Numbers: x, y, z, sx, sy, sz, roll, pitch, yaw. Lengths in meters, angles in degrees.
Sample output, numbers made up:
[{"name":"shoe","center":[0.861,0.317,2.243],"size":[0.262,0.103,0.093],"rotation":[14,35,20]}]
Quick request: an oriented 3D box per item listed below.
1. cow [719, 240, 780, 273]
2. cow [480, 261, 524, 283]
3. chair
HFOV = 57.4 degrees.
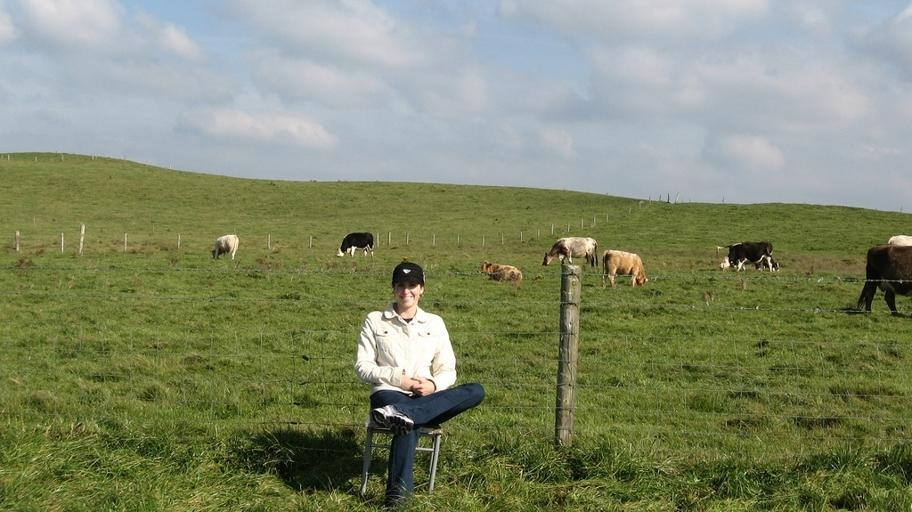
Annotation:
[{"name":"cow","center":[16.880,-0.007,47.260],"size":[2.391,1.555,3.879],"rotation":[5,3,40]},{"name":"cow","center":[2.193,0.792,38.666],"size":[1.576,0.712,2.886],"rotation":[3,2,-6]},{"name":"chair","center":[-1.448,5.243,22.102],"size":[2.151,1.921,2.189],"rotation":[5,0,2]}]
